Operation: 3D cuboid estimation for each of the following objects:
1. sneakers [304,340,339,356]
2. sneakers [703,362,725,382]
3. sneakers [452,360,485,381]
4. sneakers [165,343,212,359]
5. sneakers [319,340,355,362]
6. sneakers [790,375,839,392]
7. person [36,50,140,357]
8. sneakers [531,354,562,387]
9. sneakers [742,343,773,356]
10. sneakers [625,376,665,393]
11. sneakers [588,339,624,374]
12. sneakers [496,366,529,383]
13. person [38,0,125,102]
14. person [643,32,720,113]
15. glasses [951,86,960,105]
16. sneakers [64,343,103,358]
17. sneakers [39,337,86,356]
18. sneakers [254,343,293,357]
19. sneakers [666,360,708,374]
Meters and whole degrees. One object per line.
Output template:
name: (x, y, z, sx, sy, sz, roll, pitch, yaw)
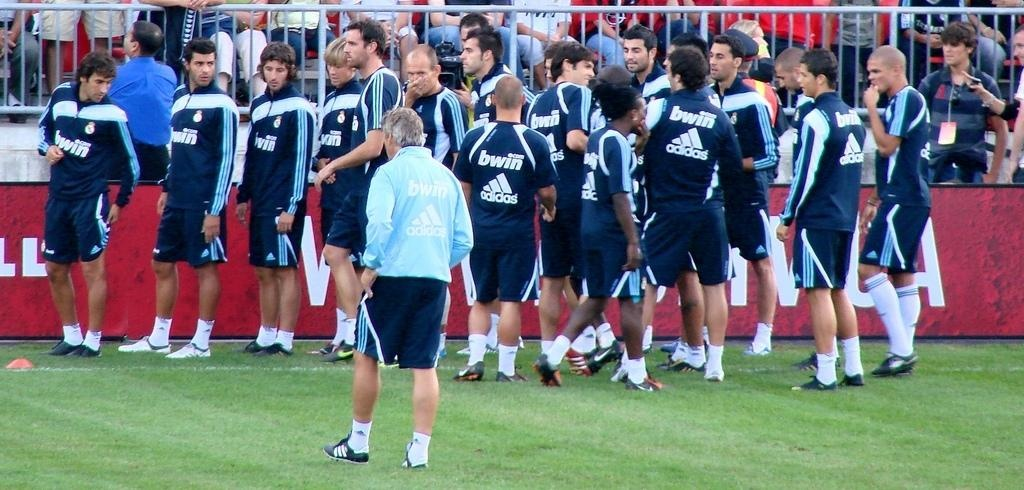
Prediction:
sneakers: (-2.589, 1.415, 24.133, 0.491, 0.199, 0.176, 3, -8, -4)
sneakers: (2.697, 1.678, 23.042, 0.187, 0.210, 0.502, 1, -9, 1)
sneakers: (-0.481, 1.677, 22.965, 0.465, 0.230, 0.185, -22, -52, 41)
sneakers: (-4.352, 1.431, 23.789, 0.602, 0.220, 0.218, 1, -1, -7)
sneakers: (-2.268, 1.452, 23.816, 0.627, 0.241, 0.227, -6, -10, 18)
sneakers: (3.989, 1.788, 22.854, 0.597, 0.210, 0.217, 2, -1, 8)
person: (-5.738, -0.556, 23.752, 1.230, 4.117, 0.584, 0, 1, -11)
sneakers: (0.503, 1.635, 22.776, 0.244, 0.534, 0.212, -26, 10, -15)
sneakers: (3.420, 1.434, 24.096, 0.291, 0.118, 0.162, 2, -2, 1)
sneakers: (1.763, 1.794, 22.743, 0.511, 0.207, 0.178, -5, 9, -5)
sneakers: (1.295, 1.436, 23.361, 0.625, 0.286, 0.238, -21, -8, 25)
sneakers: (0.065, 1.710, 23.048, 0.462, 0.189, 0.155, -3, 4, -21)
person: (-6.066, -2.882, 25.284, 1.244, 1.123, 1.222, 1, 7, 5)
person: (2.332, -2.540, 23.286, 0.889, 1.028, 1.542, 6, 7, 18)
glasses: (6.329, -2.137, 24.911, 0.129, 0.209, 0.060, 0, 1, 22)
sneakers: (-5.782, 1.445, 23.781, 0.455, 0.185, 0.178, 6, 11, -8)
sneakers: (-6.069, 1.392, 23.835, 0.571, 0.233, 0.190, 1, 1, 0)
sneakers: (-3.209, 1.436, 23.945, 0.503, 0.207, 0.181, 5, -2, -5)
sneakers: (2.381, 1.633, 23.398, 0.512, 0.215, 0.183, 10, -17, 9)
